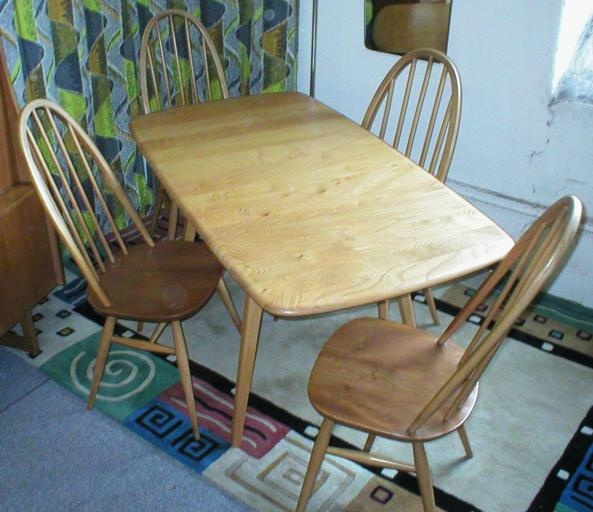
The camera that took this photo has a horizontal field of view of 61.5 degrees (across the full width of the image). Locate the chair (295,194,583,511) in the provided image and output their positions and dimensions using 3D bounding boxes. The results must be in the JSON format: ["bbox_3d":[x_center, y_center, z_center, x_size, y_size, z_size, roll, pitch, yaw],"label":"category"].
[{"bbox_3d":[0.397,0.314,1.406,0.583,0.944,0.468,18,45,16],"label":"chair"}]

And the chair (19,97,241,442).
[{"bbox_3d":[-0.586,0.080,1.737,0.727,1.216,0.621,10,51,-2],"label":"chair"}]

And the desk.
[{"bbox_3d":[0.056,0.068,1.547,0.843,0.630,1.261,-17,50,-19],"label":"desk"}]
